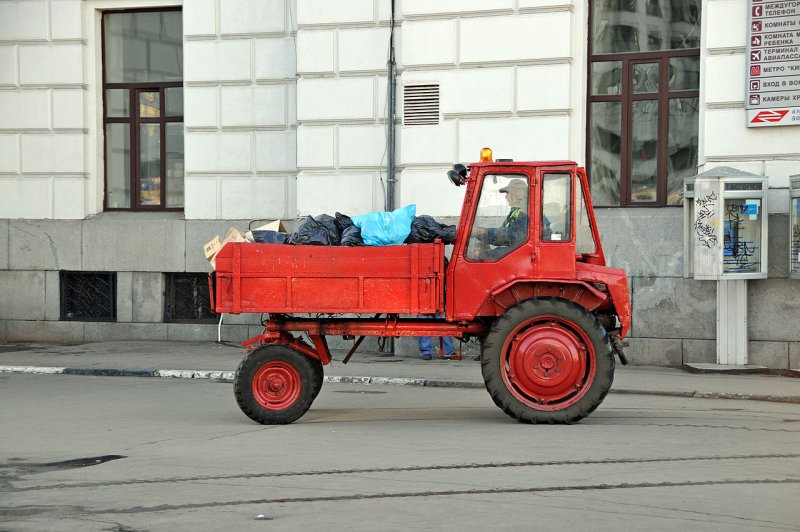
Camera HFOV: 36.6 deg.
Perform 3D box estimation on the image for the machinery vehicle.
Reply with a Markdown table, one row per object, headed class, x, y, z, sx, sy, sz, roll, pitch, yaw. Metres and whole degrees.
| class | x | y | z | sx | sy | sz | roll | pitch | yaw |
| --- | --- | --- | --- | --- | --- | --- | --- | --- | --- |
| machinery vehicle | 0.491 | 0.202 | 18.970 | 6.396 | 3.867 | 3.244 | -1 | 6 | 11 |
